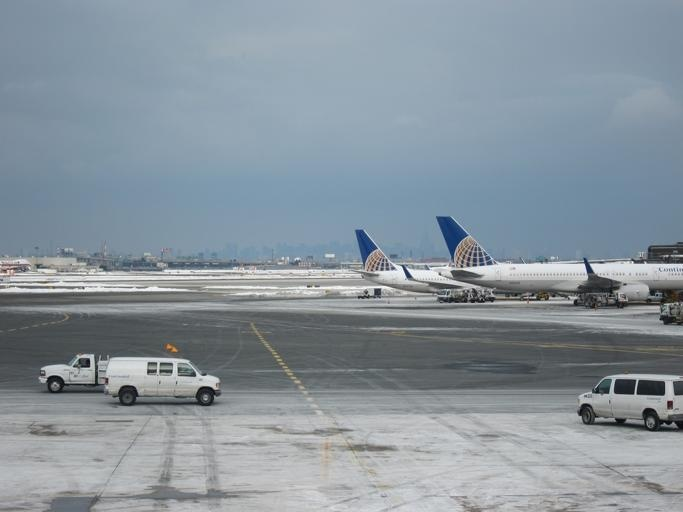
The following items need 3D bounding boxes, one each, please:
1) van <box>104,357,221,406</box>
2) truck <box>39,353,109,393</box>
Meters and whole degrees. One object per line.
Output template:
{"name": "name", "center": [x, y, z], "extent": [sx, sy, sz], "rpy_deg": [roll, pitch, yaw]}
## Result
{"name": "van", "center": [-7.221, 5.109, 42.713], "extent": [4.467, 1.383, 2.032], "rpy_deg": [-1, -1, -6]}
{"name": "truck", "center": [-11.717, 5.158, 46.070], "extent": [3.329, 1.105, 1.458], "rpy_deg": [1, -2, -9]}
